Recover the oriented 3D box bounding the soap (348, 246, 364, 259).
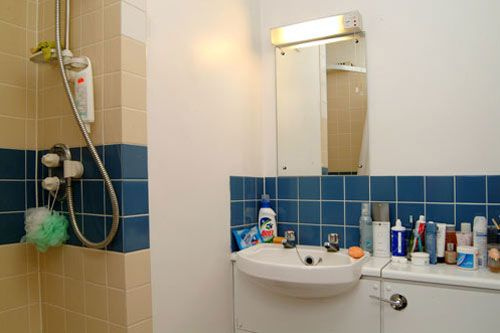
[{"bbox_3d":[0.640,0.504,2.455,0.055,0.060,0.073,-23,15,-30],"label":"soap"}]

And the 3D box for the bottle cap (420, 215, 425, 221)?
[{"bbox_3d":[1.056,0.312,2.482,0.023,0.023,0.023,8,-13,-24],"label":"bottle cap"}]

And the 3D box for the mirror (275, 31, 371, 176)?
[{"bbox_3d":[0.512,-0.437,2.849,0.621,1.178,0.050,-2,-35,12],"label":"mirror"}]

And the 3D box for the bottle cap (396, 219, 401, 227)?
[{"bbox_3d":[0.920,0.346,2.515,0.031,0.061,0.033,3,2,37],"label":"bottle cap"}]

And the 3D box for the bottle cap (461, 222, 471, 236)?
[{"bbox_3d":[1.284,0.366,2.397,0.085,0.072,0.034,0,0,-32],"label":"bottle cap"}]

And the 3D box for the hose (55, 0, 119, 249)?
[{"bbox_3d":[-0.869,-0.227,2.105,0.360,1.316,0.183,0,0,32],"label":"hose"}]

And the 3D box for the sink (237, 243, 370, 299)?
[{"bbox_3d":[0.317,0.647,2.491,0.768,0.278,0.450,0,1,22],"label":"sink"}]

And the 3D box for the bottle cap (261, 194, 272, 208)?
[{"bbox_3d":[0.117,0.242,2.881,0.077,0.091,0.079,-1,0,6],"label":"bottle cap"}]

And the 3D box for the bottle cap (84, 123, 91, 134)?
[{"bbox_3d":[-0.868,-0.206,2.163,0.033,0.066,0.033,-7,10,-36],"label":"bottle cap"}]

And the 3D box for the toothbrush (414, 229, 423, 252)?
[{"bbox_3d":[1.016,0.444,2.449,0.050,0.125,0.045,0,0,24],"label":"toothbrush"}]

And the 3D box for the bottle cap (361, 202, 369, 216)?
[{"bbox_3d":[0.747,0.270,2.628,0.041,0.081,0.050,0,0,13],"label":"bottle cap"}]

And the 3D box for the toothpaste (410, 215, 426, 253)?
[{"bbox_3d":[1.041,0.404,2.473,0.071,0.211,0.140,0,0,43],"label":"toothpaste"}]
